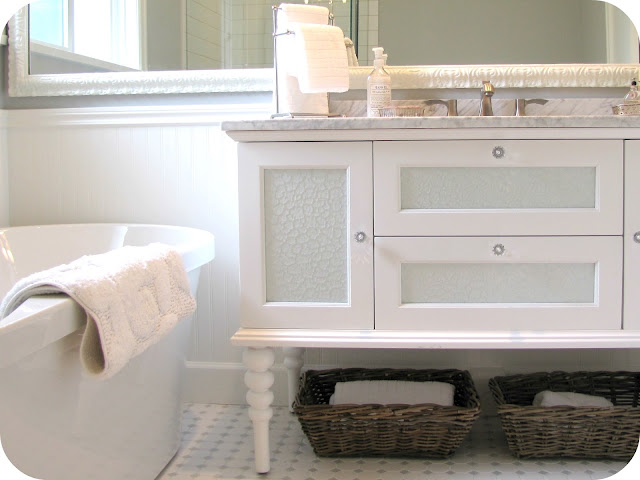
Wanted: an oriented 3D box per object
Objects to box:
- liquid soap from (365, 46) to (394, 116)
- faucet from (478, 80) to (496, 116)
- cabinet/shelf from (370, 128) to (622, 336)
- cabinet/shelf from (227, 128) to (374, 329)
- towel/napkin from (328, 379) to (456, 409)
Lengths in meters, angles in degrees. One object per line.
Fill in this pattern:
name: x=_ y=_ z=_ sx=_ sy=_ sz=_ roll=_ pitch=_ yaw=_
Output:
liquid soap: x=0.173 y=-0.486 z=1.920 sx=0.064 sy=0.217 sz=0.106 roll=0 pitch=3 yaw=-35
faucet: x=0.530 y=-0.443 z=1.948 sx=0.038 sy=0.117 sz=0.135 roll=3 pitch=3 yaw=14
cabinet/shelf: x=0.491 y=-0.020 z=1.881 sx=0.915 sy=0.575 sz=0.494 roll=0 pitch=4 yaw=4
cabinet/shelf: x=-0.034 y=-0.022 z=1.880 sx=0.544 sy=0.677 sz=0.484 roll=0 pitch=5 yaw=5
towel/napkin: x=0.213 y=0.475 z=1.923 sx=0.246 sy=0.057 sz=0.142 roll=-1 pitch=1 yaw=2
